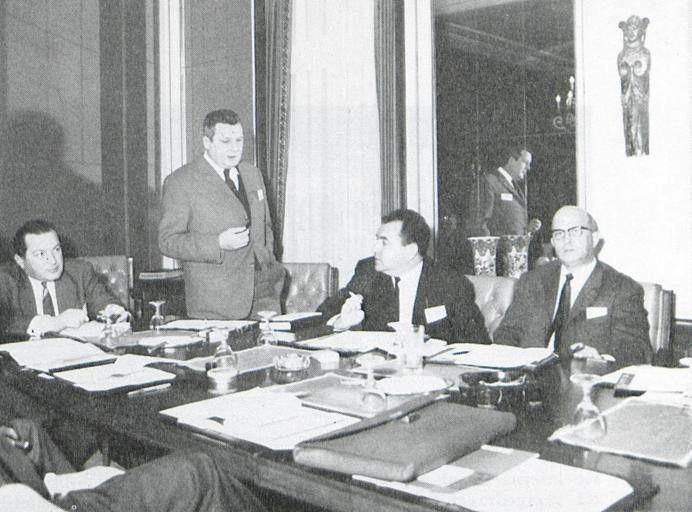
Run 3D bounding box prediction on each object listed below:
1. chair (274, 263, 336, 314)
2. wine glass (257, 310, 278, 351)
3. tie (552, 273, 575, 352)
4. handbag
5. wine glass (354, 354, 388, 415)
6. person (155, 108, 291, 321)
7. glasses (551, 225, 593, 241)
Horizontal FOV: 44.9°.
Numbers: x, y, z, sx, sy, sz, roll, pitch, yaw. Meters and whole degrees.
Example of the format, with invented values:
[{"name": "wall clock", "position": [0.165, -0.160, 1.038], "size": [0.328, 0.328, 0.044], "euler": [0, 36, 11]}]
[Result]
[{"name": "chair", "position": [-0.202, 0.184, 4.720], "size": [0.237, 0.426, 0.281], "euler": [3, -7, 8]}, {"name": "wine glass", "position": [-0.316, 0.321, 3.477], "size": [0.106, 0.205, 0.112], "euler": [0, -2, 5]}, {"name": "tie", "position": [1.009, 0.262, 3.858], "size": [0.071, 0.460, 0.051], "euler": [-7, 39, 1]}, {"name": "handbag", "position": [0.185, 0.569, 2.565], "size": [0.452, 0.077, 0.289], "euler": [-11, 6, -42]}, {"name": "wine glass", "position": [0.084, 0.454, 2.912], "size": [0.087, 0.149, 0.334], "euler": [-2, -3, -4]}, {"name": "person", "position": [-0.657, -0.205, 4.454], "size": [0.660, 1.112, 0.534], "euler": [-3, 2, -7]}, {"name": "glasses", "position": [1.018, -0.102, 3.794], "size": [0.170, 0.063, 0.076], "euler": [-2, 2, 17]}]
